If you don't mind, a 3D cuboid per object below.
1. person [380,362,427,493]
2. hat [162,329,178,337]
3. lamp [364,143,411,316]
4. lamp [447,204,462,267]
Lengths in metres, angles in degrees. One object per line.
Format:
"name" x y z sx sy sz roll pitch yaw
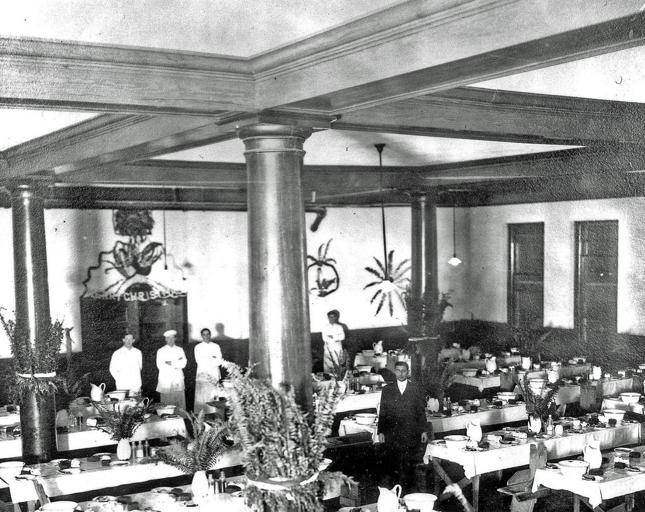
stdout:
"person" 0.886 1.940 7.730 0.540 1.256 1.033 -2 -1 5
"hat" -2.200 1.116 9.976 0.175 0.060 0.192 -2 2 1
"lamp" 0.896 -0.250 9.905 0.648 2.050 1.404 -2 -1 3
"lamp" 1.887 -0.284 9.913 0.184 0.784 0.575 -2 -1 11
